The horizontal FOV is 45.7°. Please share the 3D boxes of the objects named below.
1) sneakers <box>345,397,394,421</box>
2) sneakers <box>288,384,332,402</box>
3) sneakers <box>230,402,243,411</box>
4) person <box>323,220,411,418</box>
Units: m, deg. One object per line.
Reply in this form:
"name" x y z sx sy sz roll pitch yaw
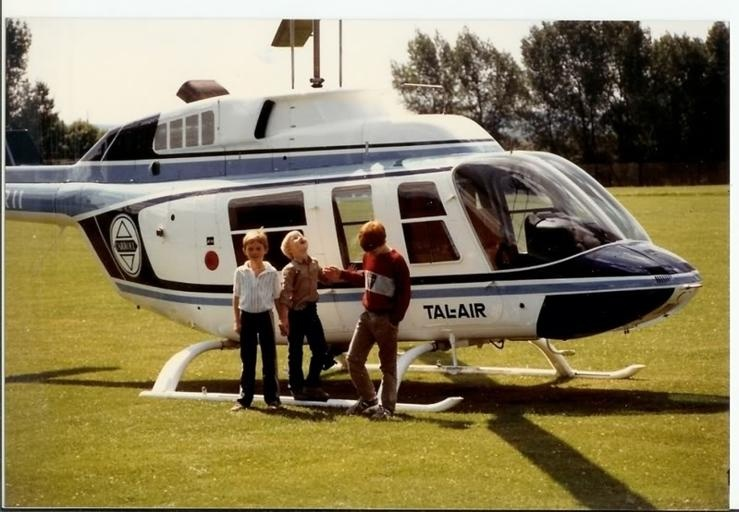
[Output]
"sneakers" 0.004 1.719 9.957 0.620 0.222 0.198 7 2 16
"sneakers" -0.692 1.636 10.334 0.534 0.189 0.165 -2 -4 6
"sneakers" -1.521 1.749 10.131 0.175 0.067 0.064 1 -3 6
"person" 0.075 0.722 9.738 0.757 2.203 0.365 -4 13 -3
